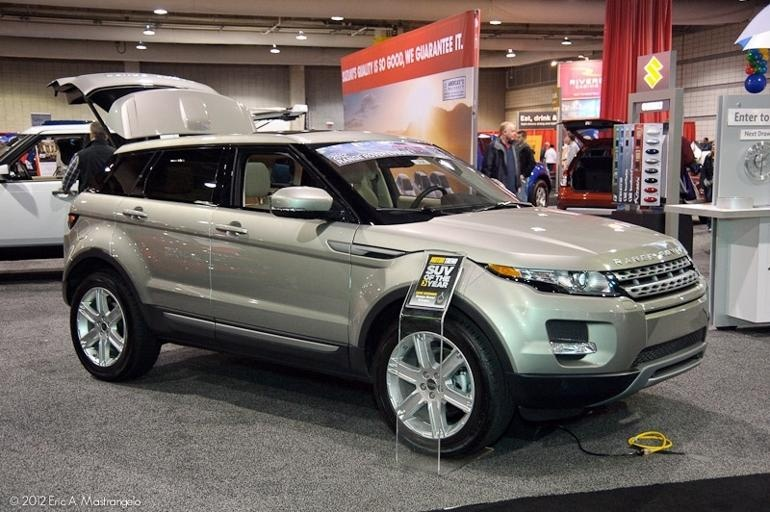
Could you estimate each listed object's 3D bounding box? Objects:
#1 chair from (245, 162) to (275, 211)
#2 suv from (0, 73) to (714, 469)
[{"bbox_3d":[-1.122,-0.625,4.388,0.304,0.439,0.355,-1,2,-18],"label":"chair"},{"bbox_3d":[-0.406,-0.094,4.810,5.496,2.579,2.847,3,7,32],"label":"suv"}]
